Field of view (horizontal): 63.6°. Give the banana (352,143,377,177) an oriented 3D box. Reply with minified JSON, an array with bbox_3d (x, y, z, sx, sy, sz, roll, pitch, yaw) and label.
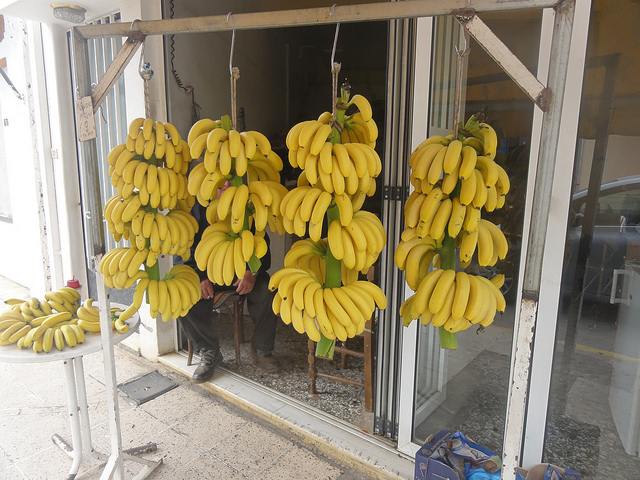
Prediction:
[{"bbox_3d":[0.203,-0.367,2.409,0.032,0.135,0.099,-17,9,13],"label":"banana"}]

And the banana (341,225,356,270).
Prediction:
[{"bbox_3d":[0.126,0.035,2.409,0.053,0.201,0.051,-1,-6,-39],"label":"banana"}]

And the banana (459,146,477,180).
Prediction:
[{"bbox_3d":[0.667,-0.349,2.320,0.076,0.150,0.041,1,-15,6],"label":"banana"}]

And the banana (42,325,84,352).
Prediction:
[{"bbox_3d":[-1.495,0.556,2.977,0.136,0.053,0.158,10,32,-7],"label":"banana"}]

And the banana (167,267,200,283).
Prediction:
[{"bbox_3d":[-0.758,0.189,2.895,0.088,0.031,0.098,-3,26,0],"label":"banana"}]

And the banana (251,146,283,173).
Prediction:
[{"bbox_3d":[-0.267,-0.402,2.595,0.158,0.134,0.125,-1,13,-12],"label":"banana"}]

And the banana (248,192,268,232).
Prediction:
[{"bbox_3d":[-0.297,-0.134,2.513,0.089,0.188,0.152,-2,13,-15],"label":"banana"}]

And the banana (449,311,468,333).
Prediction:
[{"bbox_3d":[0.648,0.386,2.417,0.048,0.074,0.024,34,2,-44],"label":"banana"}]

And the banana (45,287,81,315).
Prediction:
[{"bbox_3d":[-1.666,0.412,3.323,0.196,0.140,0.269,-3,14,-19],"label":"banana"}]

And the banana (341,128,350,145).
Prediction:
[{"bbox_3d":[0.126,-0.512,2.571,0.054,0.097,0.024,-4,5,18],"label":"banana"}]

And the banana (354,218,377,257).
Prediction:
[{"bbox_3d":[0.228,-0.012,2.405,0.050,0.226,0.058,-22,-9,-11],"label":"banana"}]

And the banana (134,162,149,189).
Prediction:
[{"bbox_3d":[-0.920,-0.330,2.652,0.047,0.130,0.078,4,13,13],"label":"banana"}]

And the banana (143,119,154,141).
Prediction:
[{"bbox_3d":[-0.882,-0.561,2.648,0.035,0.032,0.122,-6,44,-10],"label":"banana"}]

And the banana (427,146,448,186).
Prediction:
[{"bbox_3d":[0.531,-0.332,2.349,0.055,0.223,0.063,7,-25,31],"label":"banana"}]

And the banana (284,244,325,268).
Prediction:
[{"bbox_3d":[-0.079,0.079,2.546,0.188,0.122,0.093,0,12,-5],"label":"banana"}]

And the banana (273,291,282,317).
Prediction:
[{"bbox_3d":[-0.205,0.309,2.491,0.031,0.133,0.040,-2,-7,17],"label":"banana"}]

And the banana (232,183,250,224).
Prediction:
[{"bbox_3d":[-0.406,-0.165,2.545,0.090,0.098,0.315,23,-21,-1],"label":"banana"}]

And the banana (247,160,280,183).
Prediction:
[{"bbox_3d":[-0.282,-0.366,2.612,0.093,0.135,0.034,-18,22,39],"label":"banana"}]

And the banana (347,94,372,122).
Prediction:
[{"bbox_3d":[0.194,-0.627,2.464,0.113,0.123,0.173,5,13,14],"label":"banana"}]

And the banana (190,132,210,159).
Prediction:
[{"bbox_3d":[-0.582,-0.454,2.501,0.094,0.129,0.130,-2,13,-14],"label":"banana"}]

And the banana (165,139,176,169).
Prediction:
[{"bbox_3d":[-0.788,-0.451,2.725,0.049,0.153,0.088,-1,12,-12],"label":"banana"}]

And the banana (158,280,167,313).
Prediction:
[{"bbox_3d":[-0.852,0.308,2.790,0.050,0.163,0.078,-3,13,-17],"label":"banana"}]

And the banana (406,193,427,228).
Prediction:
[{"bbox_3d":[0.438,-0.133,2.398,0.051,0.212,0.066,16,-6,33],"label":"banana"}]

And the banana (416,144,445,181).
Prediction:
[{"bbox_3d":[0.502,-0.360,2.430,0.080,0.249,0.064,38,-22,-31],"label":"banana"}]

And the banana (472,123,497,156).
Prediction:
[{"bbox_3d":[0.792,-0.468,2.456,0.081,0.153,0.039,-8,-5,4],"label":"banana"}]

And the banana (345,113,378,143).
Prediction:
[{"bbox_3d":[0.201,-0.515,2.473,0.043,0.141,0.118,-21,47,-7],"label":"banana"}]

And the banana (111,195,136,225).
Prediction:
[{"bbox_3d":[-1.013,-0.153,2.666,0.034,0.147,0.044,30,-12,-8],"label":"banana"}]

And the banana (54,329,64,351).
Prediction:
[{"bbox_3d":[-1.496,0.574,2.960,0.038,0.134,0.046,-23,-33,-9],"label":"banana"}]

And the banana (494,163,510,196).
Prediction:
[{"bbox_3d":[0.843,-0.278,2.412,0.074,0.146,0.036,-2,-1,-26],"label":"banana"}]

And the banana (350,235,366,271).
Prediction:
[{"bbox_3d":[0.179,0.068,2.412,0.043,0.182,0.055,-3,6,20],"label":"banana"}]

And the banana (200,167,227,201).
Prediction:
[{"bbox_3d":[-0.519,-0.276,2.502,0.034,0.170,0.046,30,-12,7],"label":"banana"}]

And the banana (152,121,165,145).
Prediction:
[{"bbox_3d":[-0.829,-0.551,2.651,0.057,0.119,0.031,-11,-5,-1],"label":"banana"}]

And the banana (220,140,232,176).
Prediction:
[{"bbox_3d":[-0.451,-0.391,2.462,0.055,0.166,0.070,-2,13,-16],"label":"banana"}]

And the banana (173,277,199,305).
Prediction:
[{"bbox_3d":[-0.733,0.281,2.875,0.043,0.143,0.123,-22,10,12],"label":"banana"}]

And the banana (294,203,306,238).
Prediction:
[{"bbox_3d":[-0.091,-0.085,2.381,0.040,0.166,0.049,-2,-4,35],"label":"banana"}]

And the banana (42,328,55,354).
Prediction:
[{"bbox_3d":[-1.546,0.574,2.947,0.041,0.052,0.147,3,40,-10],"label":"banana"}]

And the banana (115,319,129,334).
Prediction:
[{"bbox_3d":[-1.199,0.523,3.112,0.093,0.056,0.027,25,-7,16],"label":"banana"}]

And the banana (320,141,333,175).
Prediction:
[{"bbox_3d":[0.032,-0.369,2.329,0.037,0.149,0.047,-4,-18,3],"label":"banana"}]

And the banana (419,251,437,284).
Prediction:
[{"bbox_3d":[0.511,0.132,2.467,0.027,0.148,0.048,16,-7,8],"label":"banana"}]

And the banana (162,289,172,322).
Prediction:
[{"bbox_3d":[-0.814,0.354,2.782,0.048,0.172,0.041,5,-8,16],"label":"banana"}]

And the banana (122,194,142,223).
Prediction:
[{"bbox_3d":[-0.973,-0.163,2.667,0.095,0.132,0.044,-10,16,-42],"label":"banana"}]

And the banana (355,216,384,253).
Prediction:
[{"bbox_3d":[0.227,-0.015,2.467,0.039,0.157,0.115,-21,23,32],"label":"banana"}]

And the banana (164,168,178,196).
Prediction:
[{"bbox_3d":[-0.785,-0.304,2.727,0.062,0.144,0.067,-2,13,-15],"label":"banana"}]
